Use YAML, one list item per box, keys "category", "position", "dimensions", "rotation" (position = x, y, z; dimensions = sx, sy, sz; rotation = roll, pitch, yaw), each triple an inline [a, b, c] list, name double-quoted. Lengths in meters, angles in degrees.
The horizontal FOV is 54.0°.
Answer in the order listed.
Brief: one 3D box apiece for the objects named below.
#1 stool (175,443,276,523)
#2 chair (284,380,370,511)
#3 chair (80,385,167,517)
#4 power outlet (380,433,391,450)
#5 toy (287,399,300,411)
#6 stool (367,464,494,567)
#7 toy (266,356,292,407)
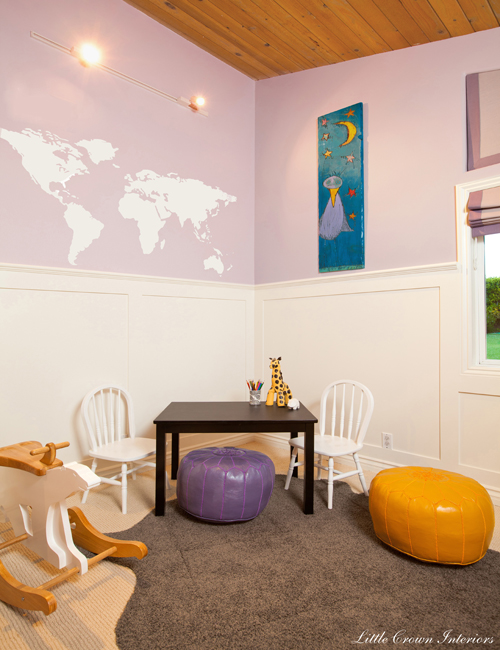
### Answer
- category: "stool"
  position: [-0.127, 0.817, 2.648]
  dimensions: [0.536, 0.363, 0.550]
  rotation: [6, 8, 13]
- category: "chair"
  position: [0.454, 0.657, 2.836]
  dimensions: [0.479, 0.651, 0.487]
  rotation: [2, 2, 7]
- category: "chair"
  position: [-0.692, 0.659, 2.733]
  dimensions: [0.392, 0.632, 0.404]
  rotation: [-4, 6, -41]
- category: "power outlet"
  position: [0.887, 0.761, 3.200]
  dimensions: [0.014, 0.098, 0.085]
  rotation: [-3, 5, -34]
- category: "toy"
  position: [0.260, 0.466, 2.880]
  dimensions: [0.050, 0.053, 0.068]
  rotation: [-3, -16, 20]
- category: "stool"
  position: [0.779, 0.785, 2.063]
  dimensions: [0.385, 0.240, 0.403]
  rotation: [1, -3, -29]
- category: "toy"
  position: [0.169, 0.344, 2.976]
  dimensions: [0.144, 0.284, 0.261]
  rotation: [0, 4, 2]
